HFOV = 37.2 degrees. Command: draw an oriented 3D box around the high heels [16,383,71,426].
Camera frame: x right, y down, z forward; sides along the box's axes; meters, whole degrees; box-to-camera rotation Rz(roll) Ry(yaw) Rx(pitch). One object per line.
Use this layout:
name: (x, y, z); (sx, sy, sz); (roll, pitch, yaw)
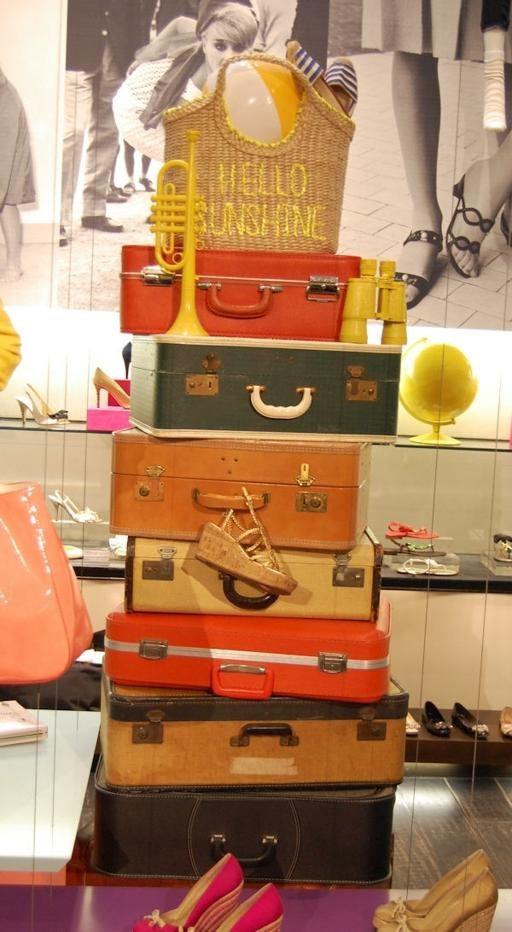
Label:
high heels: (-0.467, -0.130, 1.695); (0.110, 0.091, 0.053); (1, 21, 2)

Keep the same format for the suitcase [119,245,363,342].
suitcase: (-0.034, -0.330, 1.461); (0.461, 0.166, 0.115); (1, 12, -4)

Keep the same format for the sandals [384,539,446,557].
sandals: (0.440, 0.219, 2.066); (0.147, 0.034, 0.056); (-1, 3, 12)

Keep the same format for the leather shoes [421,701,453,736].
leather shoes: (0.519, 0.718, 2.160); (0.039, 0.049, 0.110); (-1, 2, -8)

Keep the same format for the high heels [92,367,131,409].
high heels: (-0.392, -0.211, 2.075); (0.090, 0.107, 0.124); (0, 12, -10)

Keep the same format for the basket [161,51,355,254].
basket: (0.019, -0.541, 1.363); (0.358, 0.376, 0.232); (1, 24, -4)

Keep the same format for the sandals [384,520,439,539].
sandals: (0.414, 0.167, 2.052); (0.095, 0.028, 0.049); (2, 10, 17)

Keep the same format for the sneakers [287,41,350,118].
sneakers: (0.114, -0.769, 1.427); (0.061, 0.220, 0.082); (-11, -19, -9)

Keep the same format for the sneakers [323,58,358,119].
sneakers: (0.161, -0.707, 1.455); (0.058, 0.132, 0.044); (2, 17, 23)

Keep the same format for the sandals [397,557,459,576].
sandals: (0.473, 0.279, 2.068); (0.119, 0.038, 0.061); (-8, -1, 31)

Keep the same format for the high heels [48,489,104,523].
high heels: (-0.435, 0.102, 1.841); (0.110, 0.053, 0.038); (16, 24, -28)
